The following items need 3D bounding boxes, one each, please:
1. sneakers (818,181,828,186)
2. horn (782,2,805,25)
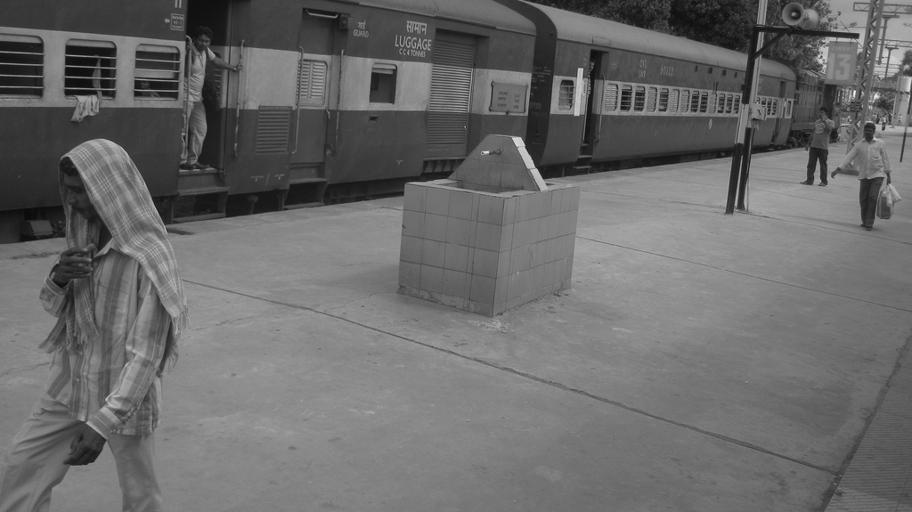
[{"bbox_3d":[13.868,-2.753,22.267,0.198,0.221,0.545,-23,-12,41],"label":"sneakers"},{"bbox_3d":[8.216,-5.938,14.373,0.563,0.565,0.610,-3,-1,33],"label":"horn"}]
